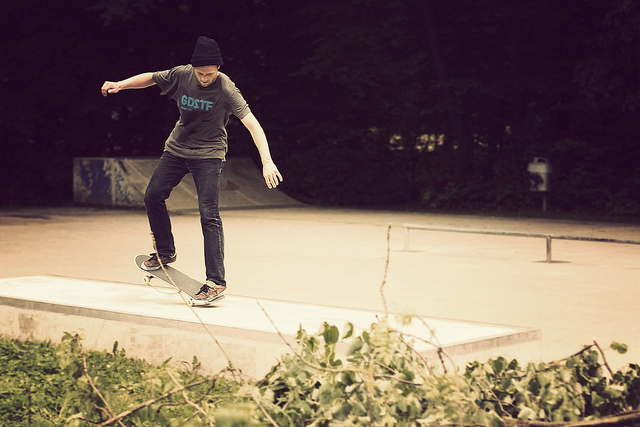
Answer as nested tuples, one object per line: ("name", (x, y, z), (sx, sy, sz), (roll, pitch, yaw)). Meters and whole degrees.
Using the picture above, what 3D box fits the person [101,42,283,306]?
("person", (-1.127, -0.361, 6.505), (1.499, 1.964, 0.460), (1, -1, 23))

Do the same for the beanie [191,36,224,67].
("beanie", (-1.030, -1.504, 6.368), (0.328, 0.253, 0.245), (1, 22, 5))

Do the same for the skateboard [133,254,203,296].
("skateboard", (-1.625, 0.666, 7.265), (0.727, 0.103, 0.190), (28, 40, 19))
